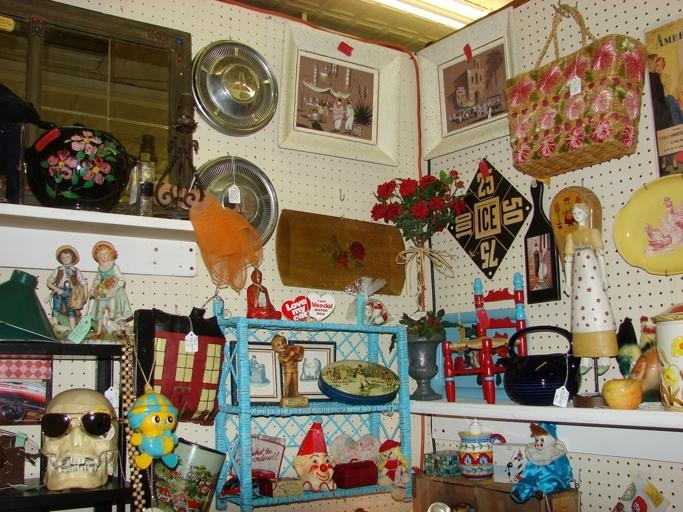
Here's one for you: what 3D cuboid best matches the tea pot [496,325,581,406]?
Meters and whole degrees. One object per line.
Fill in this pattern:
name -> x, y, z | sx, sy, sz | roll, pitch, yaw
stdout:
tea pot -> 0.728, 0.407, 2.366 | 0.281, 0.325, 0.225 | -10, -15, 35

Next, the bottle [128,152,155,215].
bottle -> -0.720, -0.250, 2.343 | 0.093, 0.235, 0.131 | 2, -8, -18

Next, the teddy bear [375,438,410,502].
teddy bear -> 0.197, 0.846, 2.527 | 0.115, 0.232, 0.086 | -16, -35, 22

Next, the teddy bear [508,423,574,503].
teddy bear -> 0.697, 0.740, 2.357 | 0.231, 0.302, 0.209 | 6, -14, -38

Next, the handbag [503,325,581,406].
handbag -> 0.702, 0.389, 2.308 | 0.263, 0.282, 0.129 | -4, -8, 21

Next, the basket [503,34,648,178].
basket -> 0.858, -0.507, 2.429 | 0.491, 0.408, 0.281 | -11, -22, 40

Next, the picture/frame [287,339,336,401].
picture/frame -> -0.123, 0.446, 2.494 | 0.194, 0.253, 0.016 | 11, -26, -31

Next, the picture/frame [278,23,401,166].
picture/frame -> -0.025, -0.667, 2.780 | 0.516, 0.566, 0.043 | 6, -8, -29

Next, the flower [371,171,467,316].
flower -> 0.361, -0.031, 2.906 | 0.376, 0.691, 0.406 | -19, 23, -33

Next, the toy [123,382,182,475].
toy -> -0.601, 0.552, 2.086 | 0.160, 0.273, 0.187 | 2, -8, -15

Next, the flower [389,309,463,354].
flower -> 0.355, 0.325, 2.715 | 0.352, 0.174, 0.327 | 5, -2, -32

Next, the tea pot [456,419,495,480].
tea pot -> 0.513, 0.740, 2.497 | 0.129, 0.205, 0.143 | -1, -8, 6

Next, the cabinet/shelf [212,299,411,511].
cabinet/shelf -> -0.134, 0.576, 2.453 | 0.689, 0.830, 0.251 | 4, -14, -28

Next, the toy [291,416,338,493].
toy -> -0.091, 0.725, 2.384 | 0.161, 0.261, 0.130 | 6, -11, -39
